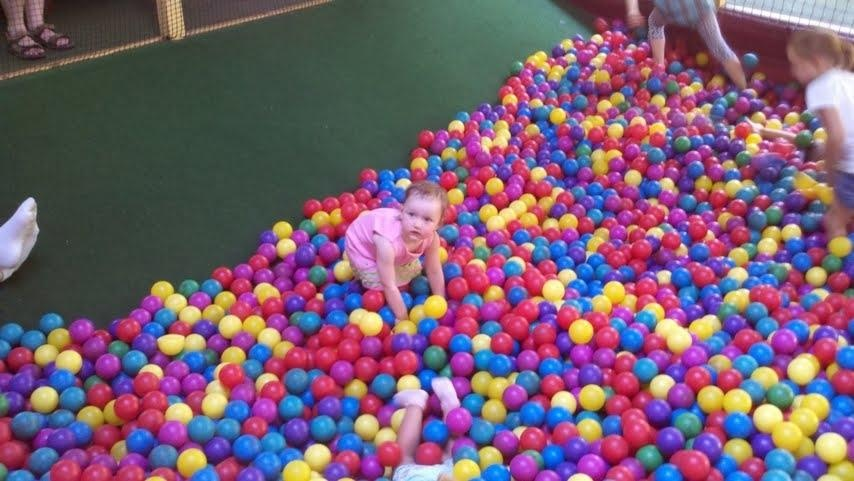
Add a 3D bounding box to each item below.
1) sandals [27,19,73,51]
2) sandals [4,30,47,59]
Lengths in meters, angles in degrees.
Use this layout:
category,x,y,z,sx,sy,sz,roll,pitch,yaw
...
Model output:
category,x,y,z,sx,sy,sz,roll,pitch,yaw
sandals,-2.696,-1.483,4.805,0.324,0.130,0.169,24,47,6
sandals,-2.818,-1.370,4.658,0.301,0.123,0.147,24,42,22
